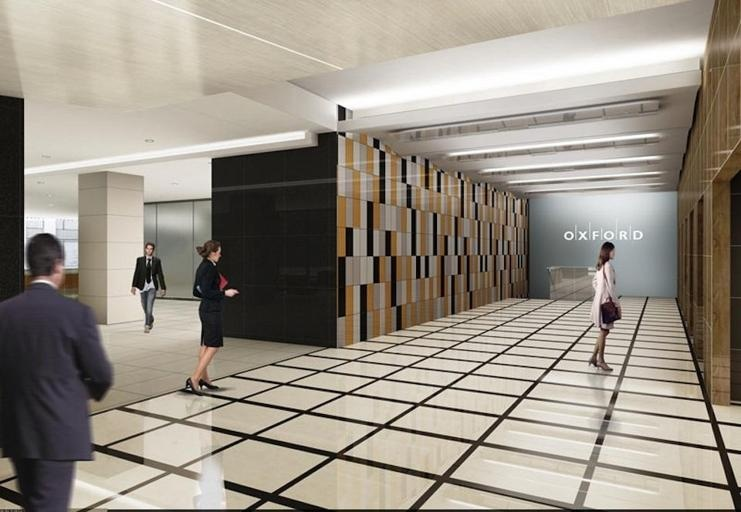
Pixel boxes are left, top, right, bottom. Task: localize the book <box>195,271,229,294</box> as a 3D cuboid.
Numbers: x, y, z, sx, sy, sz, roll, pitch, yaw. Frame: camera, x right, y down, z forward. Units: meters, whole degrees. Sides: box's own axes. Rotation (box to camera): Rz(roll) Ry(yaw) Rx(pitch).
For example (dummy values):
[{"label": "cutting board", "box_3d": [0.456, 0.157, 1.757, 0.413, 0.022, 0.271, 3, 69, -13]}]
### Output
[{"label": "book", "box_3d": [-2.203, 0.404, 6.617, 0.509, 0.366, 0.355, -4, 5, -20]}]
